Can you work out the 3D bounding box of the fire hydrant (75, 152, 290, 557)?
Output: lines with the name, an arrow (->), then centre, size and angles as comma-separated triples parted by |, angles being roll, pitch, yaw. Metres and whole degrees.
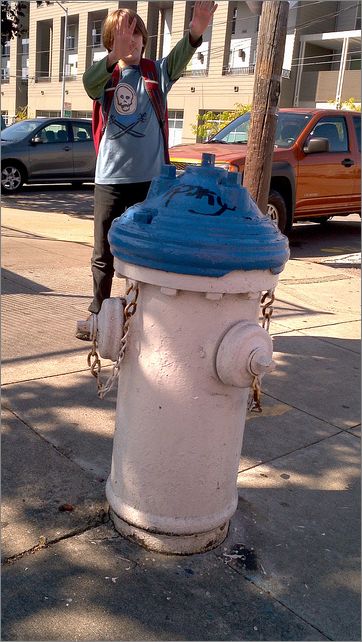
fire hydrant -> -0.002, 0.142, 1.886 | 0.617, 1.391, 0.393 | 8, 12, 9
